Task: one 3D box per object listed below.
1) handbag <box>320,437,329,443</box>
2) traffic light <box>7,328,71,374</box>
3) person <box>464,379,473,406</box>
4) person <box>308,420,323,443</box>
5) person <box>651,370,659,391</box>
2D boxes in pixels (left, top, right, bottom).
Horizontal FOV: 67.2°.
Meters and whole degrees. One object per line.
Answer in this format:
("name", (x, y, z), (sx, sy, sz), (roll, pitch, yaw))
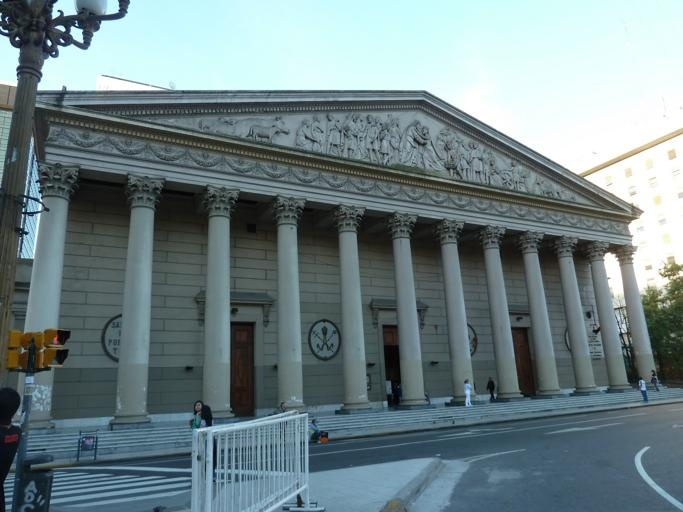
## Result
("handbag", (-0.680, 7.316, 20.668), (0.207, 0.123, 0.202), (5, -12, -23))
("traffic light", (-6.162, 1.872, 10.408), (0.618, 0.934, 1.257), (-13, -17, 32))
("person", (6.792, 7.198, 27.505), (0.421, 1.386, 0.987), (-8, -15, 15))
("person", (-1.059, 7.164, 21.394), (0.496, 0.820, 1.390), (-3, -14, -4))
("person", (21.486, 8.421, 35.289), (0.357, 1.366, 2.689), (-13, -16, 30))
